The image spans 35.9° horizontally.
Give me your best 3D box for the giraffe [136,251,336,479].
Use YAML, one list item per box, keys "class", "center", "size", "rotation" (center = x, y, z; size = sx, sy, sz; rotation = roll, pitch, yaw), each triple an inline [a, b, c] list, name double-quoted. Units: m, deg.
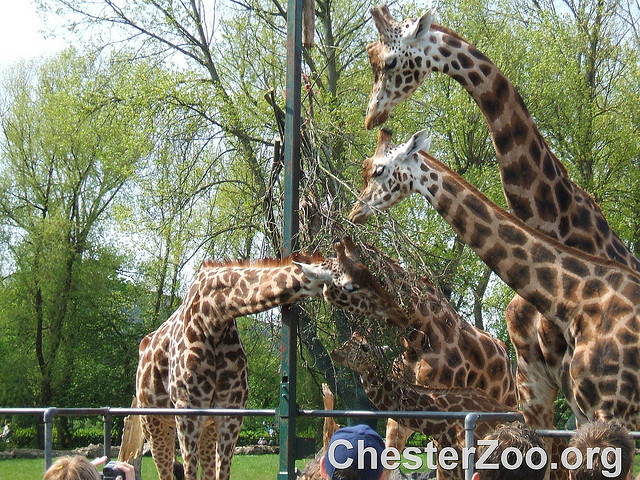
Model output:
- class: "giraffe"
  center: [-1.623, 1.901, 15.976]
  size: [2.125, 3.695, 3.882]
  rotation: [6, -22, -22]
